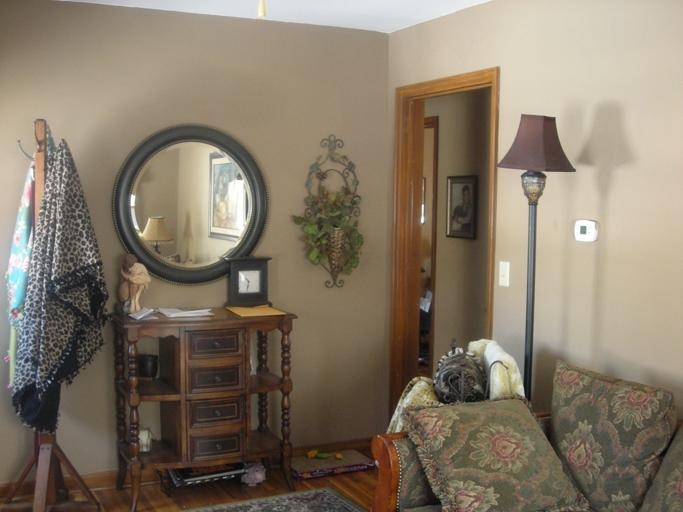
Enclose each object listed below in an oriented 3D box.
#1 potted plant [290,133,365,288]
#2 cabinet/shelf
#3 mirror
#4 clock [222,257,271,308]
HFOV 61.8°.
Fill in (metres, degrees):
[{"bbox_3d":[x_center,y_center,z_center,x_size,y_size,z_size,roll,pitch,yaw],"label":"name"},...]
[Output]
[{"bbox_3d":[-0.098,-0.310,4.094,0.524,1.105,0.219,-3,8,-10],"label":"potted plant"},{"bbox_3d":[-0.922,0.963,3.543,1.086,1.105,0.545,-1,3,-24],"label":"cabinet/shelf"},{"bbox_3d":[-1.065,-0.335,3.768,1.033,1.127,0.084,0,3,-13],"label":"mirror"},{"bbox_3d":[-0.644,0.165,3.898,0.280,0.368,0.191,-1,21,-10],"label":"clock"}]
